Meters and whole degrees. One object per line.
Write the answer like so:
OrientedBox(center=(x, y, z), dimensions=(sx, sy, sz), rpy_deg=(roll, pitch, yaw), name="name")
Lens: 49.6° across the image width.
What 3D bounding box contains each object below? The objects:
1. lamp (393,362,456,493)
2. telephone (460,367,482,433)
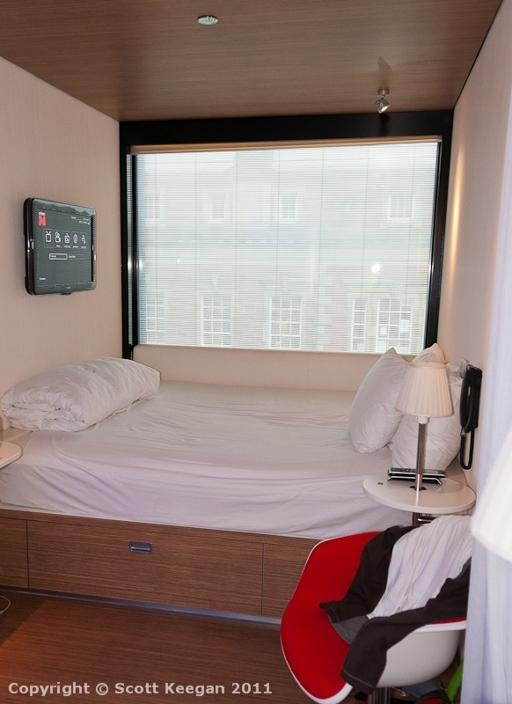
OrientedBox(center=(0.607, 0.239, 1.983), dimensions=(0.175, 0.435, 0.370), rpy_deg=(3, 7, 19), name="lamp")
OrientedBox(center=(0.791, 0.178, 2.034), dimensions=(0.073, 0.187, 0.260), rpy_deg=(3, 0, 15), name="telephone")
